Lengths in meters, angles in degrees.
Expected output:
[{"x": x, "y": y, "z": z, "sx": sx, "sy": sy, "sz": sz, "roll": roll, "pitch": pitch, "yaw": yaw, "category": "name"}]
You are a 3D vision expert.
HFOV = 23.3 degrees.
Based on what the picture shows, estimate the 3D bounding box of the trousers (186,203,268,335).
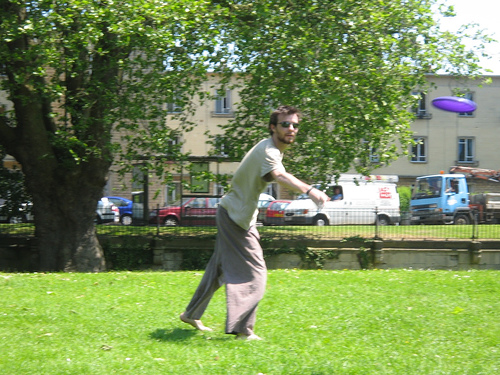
[{"x": -0.451, "y": 1.954, "z": 28.905, "sx": 1.677, "sy": 3.146, "sz": 0.654, "roll": 2, "pitch": -6, "yaw": 7, "category": "trousers"}]
